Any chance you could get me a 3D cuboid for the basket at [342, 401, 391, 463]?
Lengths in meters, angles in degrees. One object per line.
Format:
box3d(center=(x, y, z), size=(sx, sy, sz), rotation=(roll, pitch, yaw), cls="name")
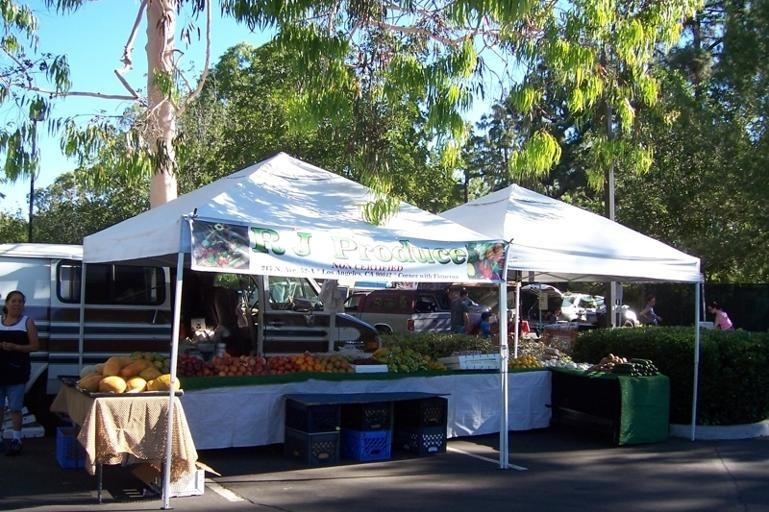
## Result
box3d(center=(-0.328, 2.950, 12.910), size=(0.719, 1.107, 0.758), rotation=(1, -4, -23), cls="basket")
